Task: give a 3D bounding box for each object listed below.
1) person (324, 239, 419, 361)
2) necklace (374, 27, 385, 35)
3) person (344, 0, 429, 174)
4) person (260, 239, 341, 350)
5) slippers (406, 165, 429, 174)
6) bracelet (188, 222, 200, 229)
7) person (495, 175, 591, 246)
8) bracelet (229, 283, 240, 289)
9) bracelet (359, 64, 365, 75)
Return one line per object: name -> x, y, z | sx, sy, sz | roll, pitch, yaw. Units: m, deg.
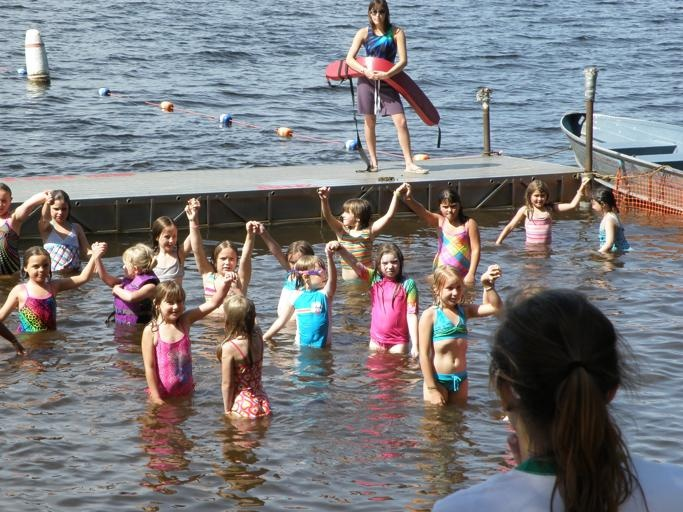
person -> 0.778, 0.682, 22.308 | 0.834, 1.658, 0.493 | 2, 14, 13
necklace -> 0.695, -4.191, 27.429 | 0.171, 0.145, 0.036 | -3, 17, 5
person -> 0.706, -3.163, 27.848 | 1.177, 3.350, 1.357 | -1, 13, 0
person -> -0.639, 0.680, 23.043 | 1.201, 1.837, 1.366 | -13, 20, -35
slippers -> 1.511, -1.681, 28.802 | 0.440, 0.151, 0.171 | 5, 14, 27
bracelet -> -2.358, -0.473, 23.335 | 0.140, 0.090, 0.129 | 2, 4, 7
person -> 3.770, -0.826, 27.784 | 1.595, 1.481, 0.377 | -4, 8, -9
bracelet -> -1.688, 0.480, 23.305 | 0.112, 0.093, 0.025 | -6, 23, 6
bracelet -> 0.400, -3.445, 27.309 | 0.113, 0.130, 0.051 | -10, 0, -29
